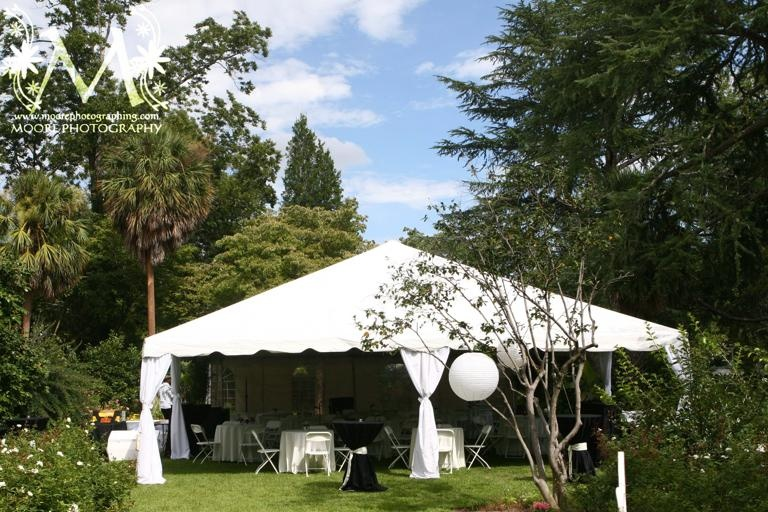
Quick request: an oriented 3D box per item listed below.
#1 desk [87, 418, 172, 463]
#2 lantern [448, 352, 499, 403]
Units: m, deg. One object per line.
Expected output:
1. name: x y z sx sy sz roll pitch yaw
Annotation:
1. desk: -7.247 4.974 26.394 1.360 0.567 1.449 -2 -6 4
2. lantern: 2.184 2.846 23.078 1.038 1.359 1.098 6 -12 -38
